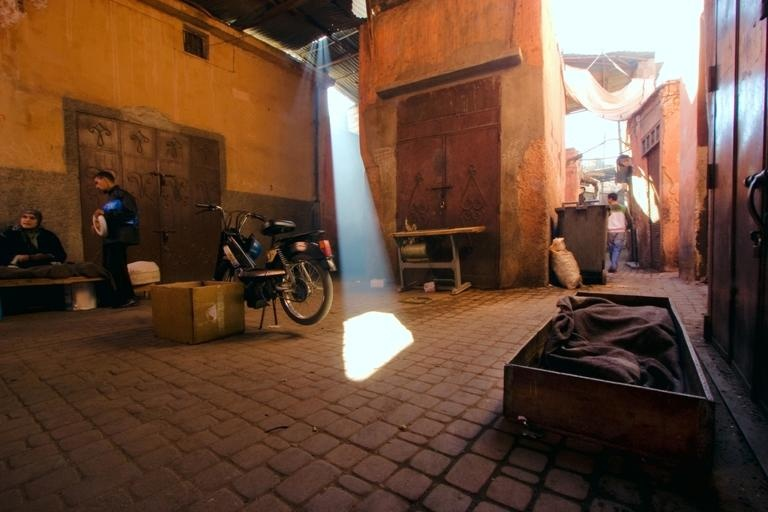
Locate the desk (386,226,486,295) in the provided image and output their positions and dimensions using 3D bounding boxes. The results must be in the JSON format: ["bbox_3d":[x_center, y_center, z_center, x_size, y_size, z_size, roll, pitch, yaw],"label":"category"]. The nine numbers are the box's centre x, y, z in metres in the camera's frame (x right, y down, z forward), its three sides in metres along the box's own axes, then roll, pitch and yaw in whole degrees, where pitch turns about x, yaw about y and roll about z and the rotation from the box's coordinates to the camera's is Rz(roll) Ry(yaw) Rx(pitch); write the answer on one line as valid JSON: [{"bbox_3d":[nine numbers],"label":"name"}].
[{"bbox_3d":[0.995,0.083,10.048,1.886,1.205,0.866,-2,6,35],"label":"desk"}]

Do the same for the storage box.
[{"bbox_3d":[-2.442,0.736,6.813,1.178,0.790,0.641,-7,5,-18],"label":"storage box"}]

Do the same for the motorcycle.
[{"bbox_3d":[-1.861,0.127,7.668,2.688,1.768,1.507,1,4,34],"label":"motorcycle"}]

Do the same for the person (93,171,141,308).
[{"bbox_3d":[-4.655,-0.305,9.083,0.484,2.400,0.748,-1,7,42],"label":"person"}]

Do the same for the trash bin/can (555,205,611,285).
[{"bbox_3d":[4.060,-0.250,10.456,1.377,1.536,1.230,8,-10,-43],"label":"trash bin/can"}]
